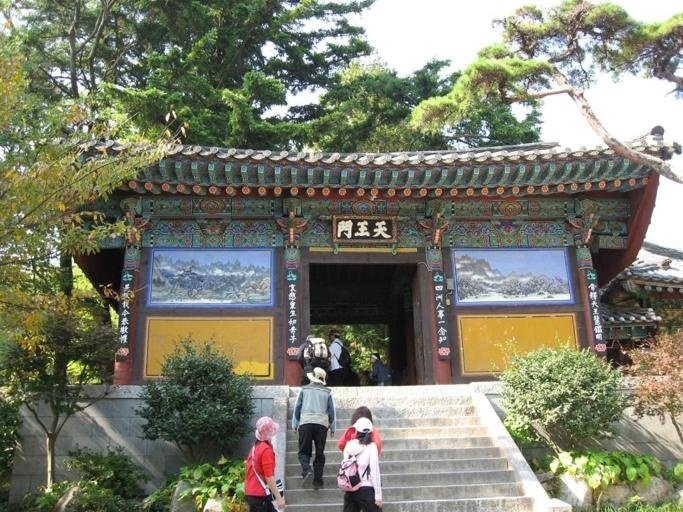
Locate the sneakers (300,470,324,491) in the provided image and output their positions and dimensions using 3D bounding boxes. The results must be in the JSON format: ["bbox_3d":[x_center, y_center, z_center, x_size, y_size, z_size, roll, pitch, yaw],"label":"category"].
[{"bbox_3d":[-0.419,3.227,7.996,0.159,0.161,0.381,-3,-38,1],"label":"sneakers"}]

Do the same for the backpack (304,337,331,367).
[{"bbox_3d":[-0.431,1.624,9.399,0.514,0.550,0.395,-6,-14,16],"label":"backpack"}]

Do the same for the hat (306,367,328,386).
[{"bbox_3d":[-0.349,1.822,8.484,0.296,0.146,0.298,17,3,-14],"label":"hat"}]

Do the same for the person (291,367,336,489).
[{"bbox_3d":[-0.412,2.509,8.246,0.594,1.768,0.574,4,-18,-17],"label":"person"}]

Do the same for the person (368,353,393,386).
[{"bbox_3d":[0.854,2.828,13.113,0.480,1.086,0.383,4,3,0],"label":"person"}]

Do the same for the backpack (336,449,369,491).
[{"bbox_3d":[0.100,2.631,6.718,0.455,0.458,0.321,12,-27,-40],"label":"backpack"}]

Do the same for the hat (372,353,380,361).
[{"bbox_3d":[0.810,2.413,13.344,0.169,0.156,0.206,-7,-31,24],"label":"hat"}]

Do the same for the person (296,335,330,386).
[{"bbox_3d":[-0.470,1.813,9.593,0.729,1.044,0.708,2,-35,-2],"label":"person"}]
